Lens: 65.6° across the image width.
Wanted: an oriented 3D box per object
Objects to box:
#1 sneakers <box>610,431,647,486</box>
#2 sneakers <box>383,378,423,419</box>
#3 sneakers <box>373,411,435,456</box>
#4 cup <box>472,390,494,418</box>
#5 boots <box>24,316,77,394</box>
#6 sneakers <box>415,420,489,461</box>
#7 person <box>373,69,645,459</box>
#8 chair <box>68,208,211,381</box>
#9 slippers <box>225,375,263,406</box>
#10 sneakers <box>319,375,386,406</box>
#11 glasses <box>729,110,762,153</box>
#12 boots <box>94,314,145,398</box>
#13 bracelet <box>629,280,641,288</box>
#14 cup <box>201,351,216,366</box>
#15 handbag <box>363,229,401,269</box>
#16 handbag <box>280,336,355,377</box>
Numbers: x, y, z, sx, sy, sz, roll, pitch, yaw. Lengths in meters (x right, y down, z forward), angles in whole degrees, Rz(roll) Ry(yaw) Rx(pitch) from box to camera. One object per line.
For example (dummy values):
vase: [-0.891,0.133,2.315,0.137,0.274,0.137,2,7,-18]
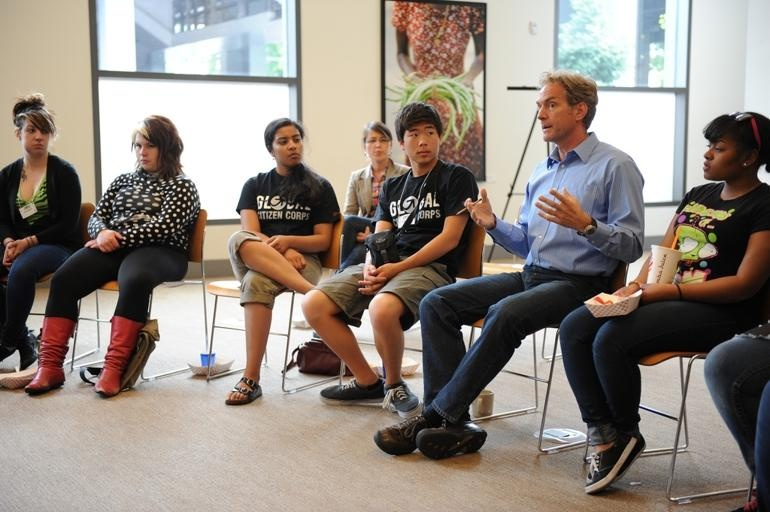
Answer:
sneakers: [1.019,0.851,2.518,0.088,0.233,0.078,33,-2,-2]
sneakers: [0.085,0.756,3.232,0.179,0.166,0.362,-10,2,-22]
sneakers: [0.125,0.832,2.851,0.379,0.165,0.127,6,14,-41]
cup: [0.525,0.778,3.173,0.095,0.110,0.153,3,12,16]
boots: [-1.971,0.575,3.504,0.220,0.420,0.241,0,10,-1]
sneakers: [0.303,0.845,2.819,0.324,0.146,0.159,1,26,-16]
person: [0.585,0.009,2.893,1.290,1.848,0.852,0,3,-21]
chair: [-1.591,0.255,3.873,0.725,1.049,0.753,6,0,11]
slippers: [-0.807,0.771,3.385,0.098,0.099,0.213,-2,-6,18]
sneakers: [-0.176,0.763,3.416,0.372,0.153,0.142,2,-1,3]
glasses: [1.538,-0.528,2.527,0.101,0.149,0.051,6,8,38]
boots: [-1.566,0.569,3.495,0.164,0.440,0.285,5,11,27]
bracelet: [1.096,0.122,2.612,0.034,0.020,0.044,2,-1,-26]
cup: [-1.132,0.656,3.785,0.091,0.096,0.092,2,6,0]
handbag: [0.012,-0.041,3.243,0.162,0.182,0.133,-12,-6,11]
handbag: [-0.315,0.661,3.970,0.516,0.197,0.399,1,-2,17]
